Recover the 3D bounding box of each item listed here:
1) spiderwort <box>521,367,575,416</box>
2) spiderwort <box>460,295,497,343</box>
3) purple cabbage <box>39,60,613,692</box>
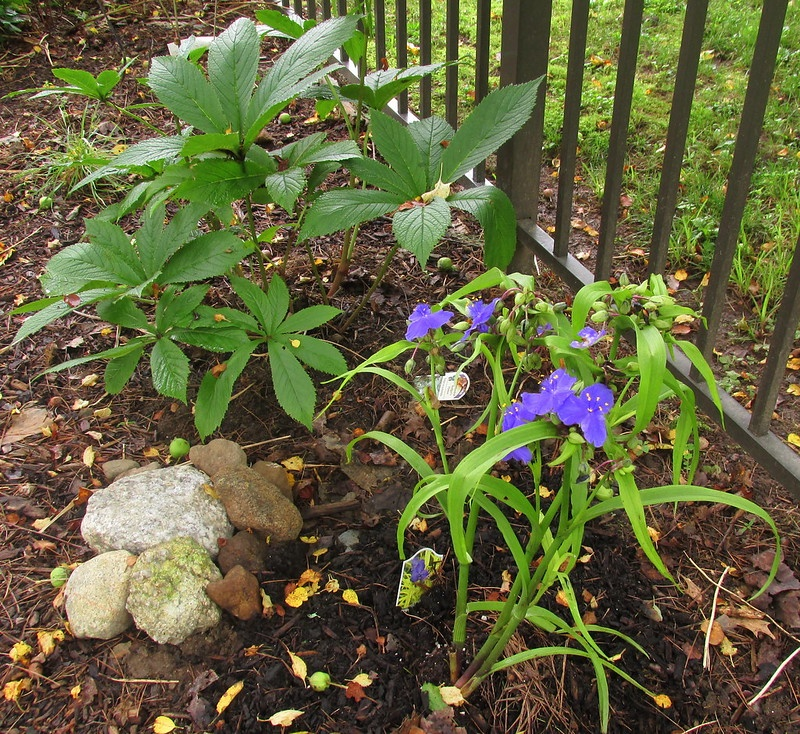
[{"bbox_3d":[0.246,0.031,1.084,0.075,0.023,0.070,-19,11,-6],"label":"spiderwort"},{"bbox_3d":[0.150,-0.088,1.264,0.056,0.083,0.104,12,40,13],"label":"spiderwort"},{"bbox_3d":[0.177,0.139,1.949,1.691,0.521,1.717,41,56,17],"label":"purple cabbage"}]
